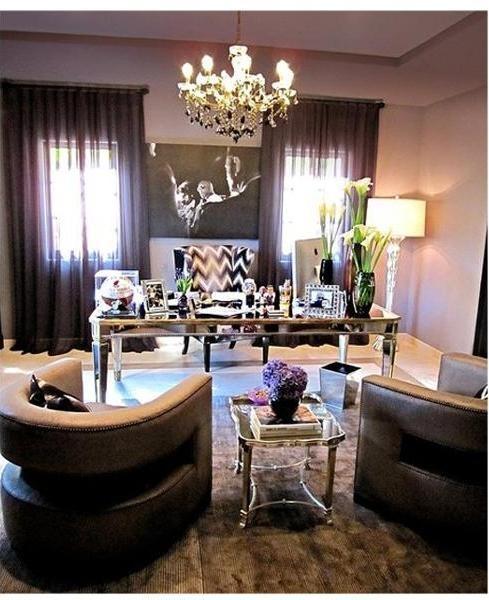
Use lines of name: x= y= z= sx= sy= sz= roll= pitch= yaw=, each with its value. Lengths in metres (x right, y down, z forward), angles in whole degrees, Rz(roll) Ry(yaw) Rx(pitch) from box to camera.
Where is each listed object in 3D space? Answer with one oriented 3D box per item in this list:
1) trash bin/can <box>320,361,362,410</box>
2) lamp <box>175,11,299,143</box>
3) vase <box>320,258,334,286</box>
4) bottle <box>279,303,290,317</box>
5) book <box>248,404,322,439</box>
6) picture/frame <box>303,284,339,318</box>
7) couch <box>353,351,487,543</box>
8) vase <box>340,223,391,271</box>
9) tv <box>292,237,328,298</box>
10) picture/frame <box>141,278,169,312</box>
trash bin/can: x=0.616 y=0.526 z=2.992 sx=0.263 sy=0.360 sz=0.269 roll=0 pitch=1 yaw=23
lamp: x=-0.029 y=-1.327 z=2.620 sx=0.490 sy=0.786 sz=0.508 roll=3 pitch=-4 yaw=-19
vase: x=0.528 y=-0.179 z=2.940 sx=0.082 sy=0.178 sz=0.314 roll=3 pitch=8 yaw=9
bottle: x=0.247 y=0.056 z=2.795 sx=0.069 sy=0.092 sz=0.070 roll=0 pitch=12 yaw=0
book: x=0.158 y=0.478 z=1.816 sx=0.272 sy=0.069 sz=0.231 roll=1 pitch=8 yaw=-8
picture/frame: x=0.461 y=0.009 z=2.756 sx=0.184 sy=0.211 sz=0.198 roll=1 pitch=11 yaw=1
couch: x=0.654 y=0.590 z=1.693 sx=0.179 sy=0.559 sz=0.530 roll=-4 pitch=9 yaw=-35
vase: x=0.725 y=-0.311 z=2.748 sx=0.248 sy=0.283 sz=0.328 roll=4 pitch=8 yaw=17
tv: x=0.448 y=-0.219 z=3.141 sx=0.357 sy=0.534 sz=0.051 roll=-9 pitch=12 yaw=-41
picture/frame: x=-0.539 y=-0.023 z=2.725 sx=0.189 sy=0.280 sz=0.033 roll=-3 pitch=-18 yaw=-39
